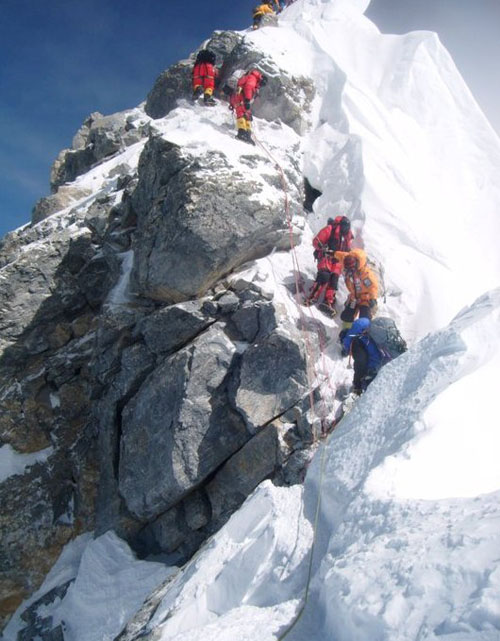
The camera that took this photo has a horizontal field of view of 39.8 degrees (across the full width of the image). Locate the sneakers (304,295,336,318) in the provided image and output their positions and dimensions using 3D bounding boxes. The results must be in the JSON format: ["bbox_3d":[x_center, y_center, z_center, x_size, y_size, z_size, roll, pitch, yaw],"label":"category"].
[{"bbox_3d":[1.106,-0.199,11.078,0.384,0.127,0.162,35,22,13],"label":"sneakers"}]

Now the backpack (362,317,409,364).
[{"bbox_3d":[1.933,0.332,10.075,0.596,0.436,0.312,62,-15,20],"label":"backpack"}]

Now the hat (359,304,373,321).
[{"bbox_3d":[1.821,-0.099,10.921,0.232,0.213,0.390,-2,-9,10],"label":"hat"}]
